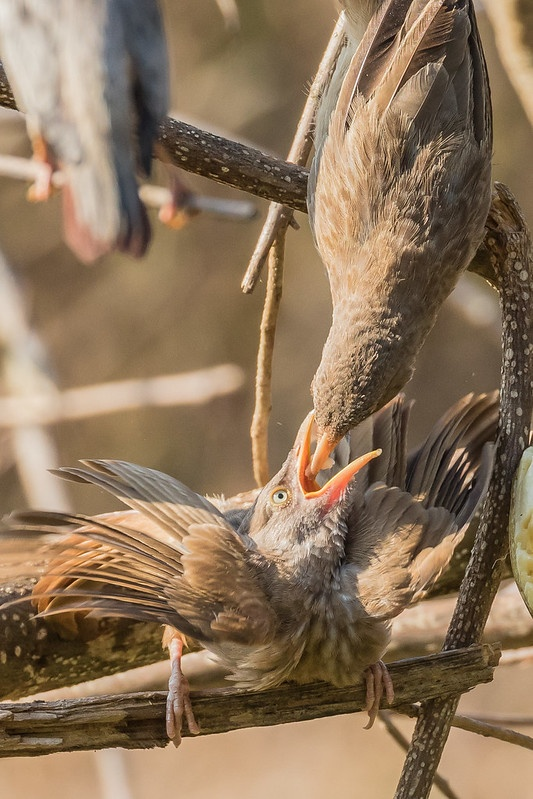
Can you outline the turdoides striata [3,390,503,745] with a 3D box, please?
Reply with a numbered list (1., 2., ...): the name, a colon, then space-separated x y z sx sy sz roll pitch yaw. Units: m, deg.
1. turdoides striata: -0.031 0.151 1.452 0.567 0.298 0.405 -10 37 -25
